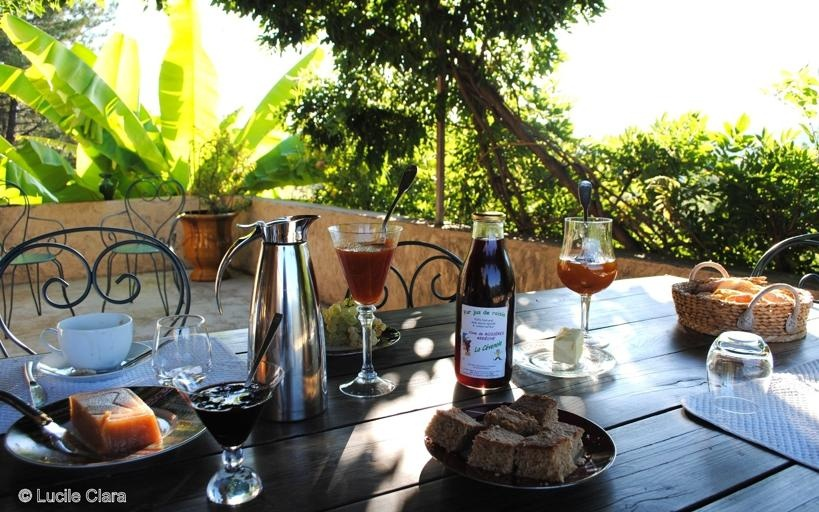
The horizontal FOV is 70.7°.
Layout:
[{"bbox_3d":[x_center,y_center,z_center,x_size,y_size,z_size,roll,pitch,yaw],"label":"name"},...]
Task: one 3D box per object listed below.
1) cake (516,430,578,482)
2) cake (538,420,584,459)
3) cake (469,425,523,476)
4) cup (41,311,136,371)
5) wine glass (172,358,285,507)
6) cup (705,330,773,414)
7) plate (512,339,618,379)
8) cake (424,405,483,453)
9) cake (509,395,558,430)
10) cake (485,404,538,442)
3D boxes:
[{"bbox_3d":[0.281,0.386,1.144,0.101,0.068,0.142,-7,1,38],"label":"cake"},{"bbox_3d":[0.302,0.355,1.140,0.068,0.043,0.066,-8,10,-39],"label":"cake"},{"bbox_3d":[0.168,0.372,1.126,0.084,0.052,0.085,5,2,38],"label":"cake"},{"bbox_3d":[-0.819,0.225,1.459,0.214,0.118,0.169,1,8,-12],"label":"cup"},{"bbox_3d":[-0.344,0.336,1.219,0.222,0.251,0.220,-12,18,-42],"label":"wine glass"},{"bbox_3d":[0.767,0.286,1.345,0.142,0.146,0.158,4,0,30],"label":"cup"},{"bbox_3d":[0.378,0.266,1.519,0.203,0.028,0.193,-8,8,-40],"label":"plate"},{"bbox_3d":[0.095,0.371,1.185,0.116,0.059,0.125,27,-15,-2],"label":"cake"},{"bbox_3d":[0.263,0.321,1.207,0.065,0.042,0.065,-2,7,-43],"label":"cake"},{"bbox_3d":[0.219,0.349,1.208,0.133,0.034,0.145,7,-7,-42],"label":"cake"}]
